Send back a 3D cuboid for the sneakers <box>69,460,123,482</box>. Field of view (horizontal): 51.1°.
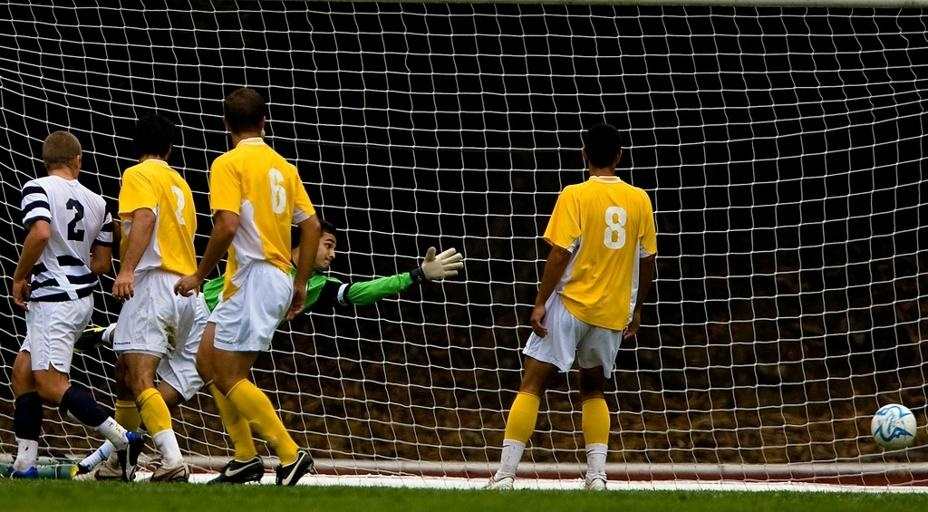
[{"bbox_3d":[-3.433,2.050,9.201,0.564,0.201,0.192,6,-5,0],"label":"sneakers"}]

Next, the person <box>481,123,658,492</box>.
[{"bbox_3d":[1.093,0.730,9.301,1.343,3.017,0.753,5,-12,4],"label":"person"}]

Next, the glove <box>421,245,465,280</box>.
[{"bbox_3d":[-0.224,0.055,9.570,0.394,0.366,0.358,5,-12,-2],"label":"glove"}]

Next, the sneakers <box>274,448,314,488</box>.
[{"bbox_3d":[-1.499,1.842,8.801,0.172,0.202,0.447,29,-36,36],"label":"sneakers"}]

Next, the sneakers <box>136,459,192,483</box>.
[{"bbox_3d":[-2.760,1.974,8.907,0.489,0.189,0.161,-1,17,2],"label":"sneakers"}]

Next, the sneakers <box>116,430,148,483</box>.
[{"bbox_3d":[-3.114,1.847,9.083,0.261,0.509,0.189,0,6,1],"label":"sneakers"}]

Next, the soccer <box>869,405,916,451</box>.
[{"bbox_3d":[4.399,1.770,9.819,0.501,0.483,0.482,1,-15,32],"label":"soccer"}]
